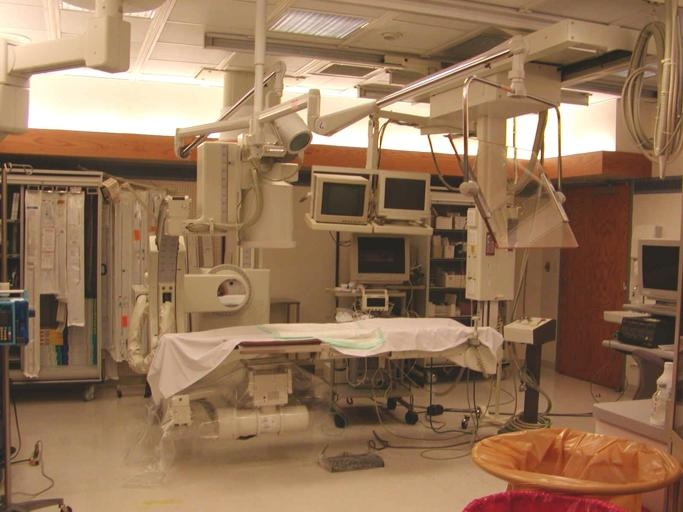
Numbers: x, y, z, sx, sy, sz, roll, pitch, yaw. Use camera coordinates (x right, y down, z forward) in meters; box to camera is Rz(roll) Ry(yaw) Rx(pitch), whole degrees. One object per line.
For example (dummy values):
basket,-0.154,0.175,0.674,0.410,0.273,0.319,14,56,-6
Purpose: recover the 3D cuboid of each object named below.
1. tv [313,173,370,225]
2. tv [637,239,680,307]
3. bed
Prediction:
tv,-0.012,-0.542,6.710,0.517,0.459,0.504,0,1,-16
tv,2.851,0.139,6.042,0.314,0.573,0.576,-1,-3,-14
bed,-0.175,0.807,5.638,2.032,0.477,1.192,-1,1,-13
